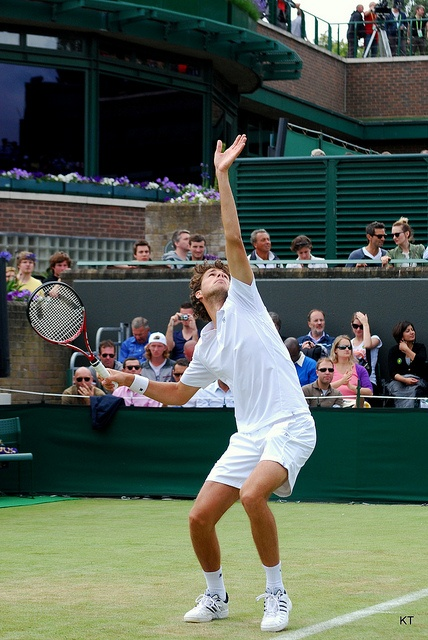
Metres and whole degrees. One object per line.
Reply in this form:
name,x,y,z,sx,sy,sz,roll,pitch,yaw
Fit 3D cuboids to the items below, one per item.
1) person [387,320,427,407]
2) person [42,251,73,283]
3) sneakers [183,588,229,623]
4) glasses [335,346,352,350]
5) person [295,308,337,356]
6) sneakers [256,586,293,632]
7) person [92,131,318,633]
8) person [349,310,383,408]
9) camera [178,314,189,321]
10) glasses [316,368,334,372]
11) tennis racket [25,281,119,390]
person,2.073,0.465,12.674,0.412,0.892,0.571,0,0,8
person,-2.028,-0.708,15.463,0.366,0.419,1.141,0,0,-8
sneakers,-0.028,1.580,6.510,0.108,0.129,0.286,-7,-9,39
glasses,1.369,0.281,12.484,0.157,0.047,0.070,0,0,-10
person,1.148,0.236,13.240,0.402,0.725,0.451,-6,-11,45
sneakers,0.329,1.526,6.283,0.153,0.190,0.250,0,0,4
person,0.107,0.288,6.603,0.681,2.693,1.009,0,1,-34
person,1.629,0.406,13.333,0.523,0.973,0.551,-2,-17,6
camera,-0.330,-0.034,13.441,0.115,0.078,0.063,-2,3,-3
glasses,1.131,0.498,11.926,0.142,0.053,0.095,0,0,-3
tennis racket,-1.462,0.195,12.219,1.440,0.519,0.110,39,-4,15
